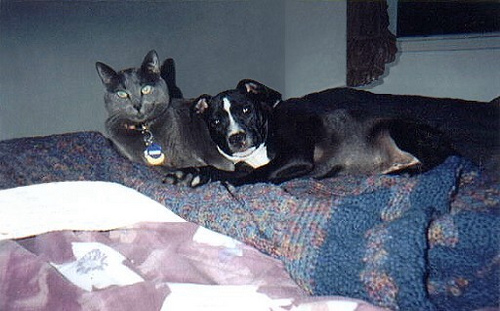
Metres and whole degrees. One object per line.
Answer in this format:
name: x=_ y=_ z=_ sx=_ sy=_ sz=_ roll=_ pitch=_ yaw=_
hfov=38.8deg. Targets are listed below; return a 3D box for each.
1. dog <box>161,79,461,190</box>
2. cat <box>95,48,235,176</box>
dog: x=0.350 y=-0.049 z=4.366 sx=1.842 sy=0.679 sz=0.672 roll=0 pitch=-6 yaw=-2
cat: x=-0.533 y=-0.310 z=4.424 sx=0.705 sy=0.760 sz=0.973 roll=-6 pitch=21 yaw=18
